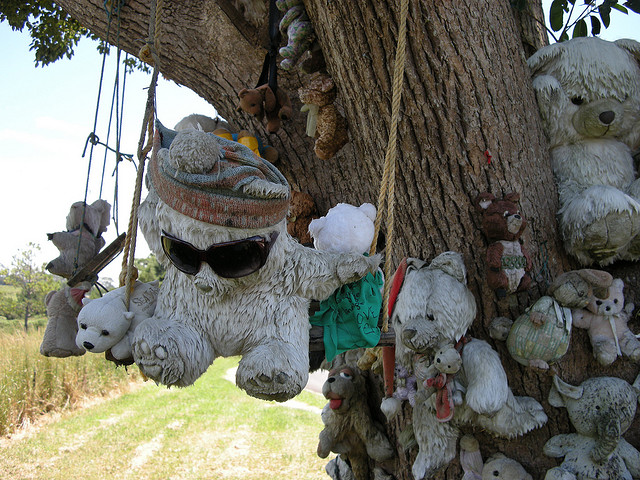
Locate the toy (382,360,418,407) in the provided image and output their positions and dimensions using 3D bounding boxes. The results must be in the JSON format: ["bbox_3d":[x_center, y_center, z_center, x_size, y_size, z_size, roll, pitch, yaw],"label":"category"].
[{"bbox_3d":[0.524,0.885,4.601,0.207,0.340,0.188,2,-16,22],"label":"toy"}]

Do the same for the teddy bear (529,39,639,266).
[{"bbox_3d":[1.630,-0.564,4.546,0.664,1.496,0.367,2,1,19],"label":"teddy bear"}]

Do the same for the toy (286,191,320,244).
[{"bbox_3d":[-0.085,-0.160,5.171,0.268,0.419,0.109,-15,53,-16],"label":"toy"}]

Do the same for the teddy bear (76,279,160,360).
[{"bbox_3d":[-1.017,0.398,3.964,0.285,0.270,0.479,9,40,30],"label":"teddy bear"}]

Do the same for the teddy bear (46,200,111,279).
[{"bbox_3d":[-1.392,0.028,4.440,0.189,0.535,0.354,1,-11,29],"label":"teddy bear"}]

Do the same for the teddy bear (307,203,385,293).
[{"bbox_3d":[0.190,0.071,4.250,0.338,0.501,0.291,-7,-12,-7],"label":"teddy bear"}]

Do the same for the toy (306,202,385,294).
[{"bbox_3d":[0.201,0.068,4.312,0.381,0.601,0.349,-14,28,-4],"label":"toy"}]

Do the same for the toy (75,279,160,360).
[{"bbox_3d":[-1.006,0.406,3.962,0.285,0.273,0.481,7,38,30],"label":"toy"}]

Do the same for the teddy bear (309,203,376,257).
[{"bbox_3d":[0.168,-0.068,4.162,0.305,0.417,0.277,-1,6,-4],"label":"teddy bear"}]

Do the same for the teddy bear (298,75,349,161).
[{"bbox_3d":[0.048,-0.877,4.895,0.258,0.554,0.503,-11,27,-11],"label":"teddy bear"}]

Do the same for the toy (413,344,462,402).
[{"bbox_3d":[0.727,0.827,4.323,0.175,0.398,0.142,20,-2,31],"label":"toy"}]

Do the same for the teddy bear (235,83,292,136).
[{"bbox_3d":[-0.288,-0.881,4.812,0.295,0.382,0.216,-18,-11,-16],"label":"teddy bear"}]

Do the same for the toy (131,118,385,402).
[{"bbox_3d":[-0.414,0.089,3.993,1.385,1.422,0.893,15,29,14],"label":"toy"}]

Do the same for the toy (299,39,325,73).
[{"bbox_3d":[-0.011,-1.193,4.747,0.064,0.196,0.166,11,-9,16],"label":"toy"}]

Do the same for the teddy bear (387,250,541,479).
[{"bbox_3d":[0.908,0.736,4.377,0.932,1.597,0.646,-12,-8,38],"label":"teddy bear"}]

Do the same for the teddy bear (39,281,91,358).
[{"bbox_3d":[-1.478,0.377,4.416,0.204,0.571,0.391,11,31,-1],"label":"teddy bear"}]

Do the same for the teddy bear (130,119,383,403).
[{"bbox_3d":[-0.389,0.154,4.018,1.215,1.474,0.843,6,9,10],"label":"teddy bear"}]

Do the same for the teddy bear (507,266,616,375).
[{"bbox_3d":[1.422,0.436,4.423,0.352,0.741,0.355,12,17,-14],"label":"teddy bear"}]

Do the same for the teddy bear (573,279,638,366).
[{"bbox_3d":[1.674,0.517,4.370,0.313,0.412,0.222,-12,13,-7],"label":"teddy bear"}]

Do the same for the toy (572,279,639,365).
[{"bbox_3d":[1.676,0.516,4.371,0.312,0.416,0.223,-12,13,-8],"label":"toy"}]
